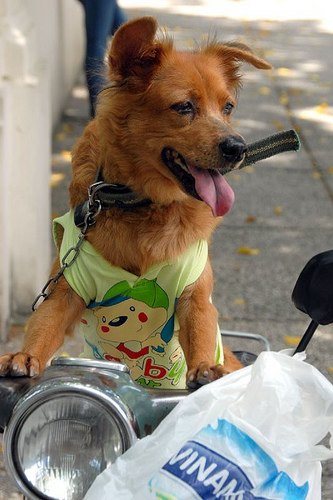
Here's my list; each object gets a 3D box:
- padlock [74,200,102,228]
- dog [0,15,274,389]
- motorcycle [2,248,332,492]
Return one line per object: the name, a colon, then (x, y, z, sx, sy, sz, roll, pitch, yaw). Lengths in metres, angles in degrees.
padlock: (-0.301, -0.144, 2.101, 0.030, 0.125, 0.079, 4, 62, -50)
dog: (-0.089, 0.030, 2.480, 0.807, 1.848, 0.993, 10, 57, 3)
motorcycle: (0.039, 0.241, 1.329, 0.527, 0.279, 0.694, 22, 18, 27)
